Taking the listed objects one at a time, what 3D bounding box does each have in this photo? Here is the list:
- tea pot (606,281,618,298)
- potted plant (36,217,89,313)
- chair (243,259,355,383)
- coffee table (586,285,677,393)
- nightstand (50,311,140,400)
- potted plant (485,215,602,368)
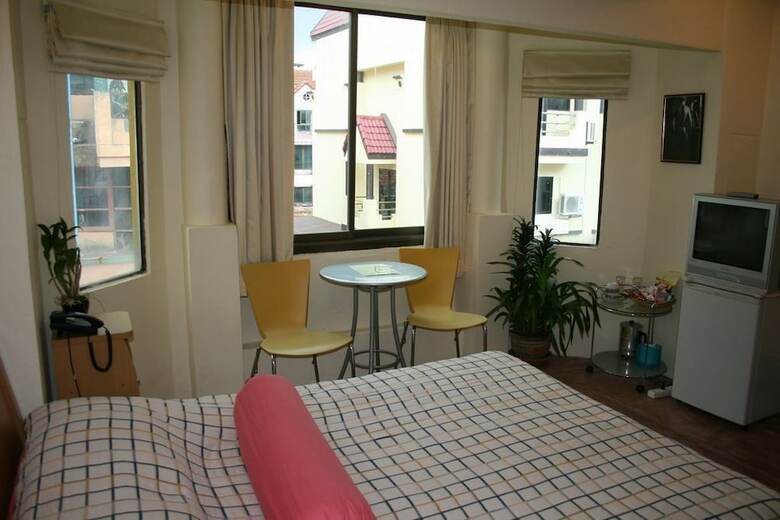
[{"bbox_3d":[1.977,0.283,5.155,0.097,0.142,0.145,-3,6,-33],"label":"tea pot"},{"bbox_3d":[-2.136,0.035,3.757,0.235,0.620,0.485,-8,13,-29],"label":"potted plant"},{"bbox_3d":[-0.722,0.587,4.493,0.677,1.124,0.737,-7,9,-39],"label":"chair"},{"bbox_3d":[2.173,0.692,5.167,0.576,0.732,0.588,-10,15,-43],"label":"coffee table"},{"bbox_3d":[-1.849,0.670,3.691,0.497,0.691,0.485,-2,12,-21],"label":"nightstand"},{"bbox_3d":[1.427,0.340,5.390,1.047,1.301,0.849,4,-1,-12],"label":"potted plant"}]
